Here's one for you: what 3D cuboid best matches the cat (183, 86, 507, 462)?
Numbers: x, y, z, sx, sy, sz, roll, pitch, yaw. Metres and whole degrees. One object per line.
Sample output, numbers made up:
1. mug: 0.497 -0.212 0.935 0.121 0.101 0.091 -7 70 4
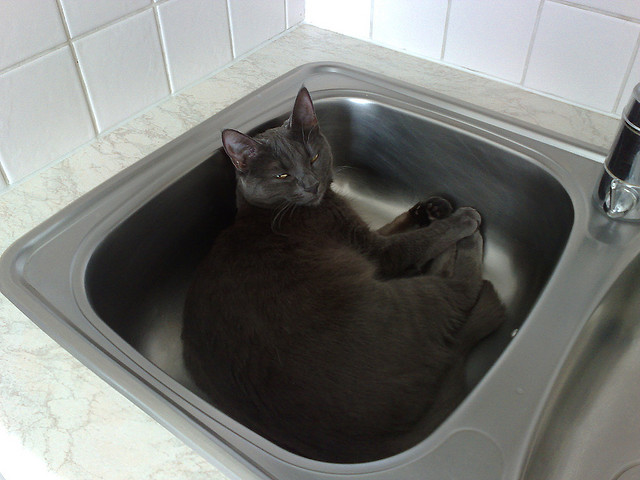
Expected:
1. cat: 0.073 0.024 1.037 0.673 0.462 0.710 14 40 15
